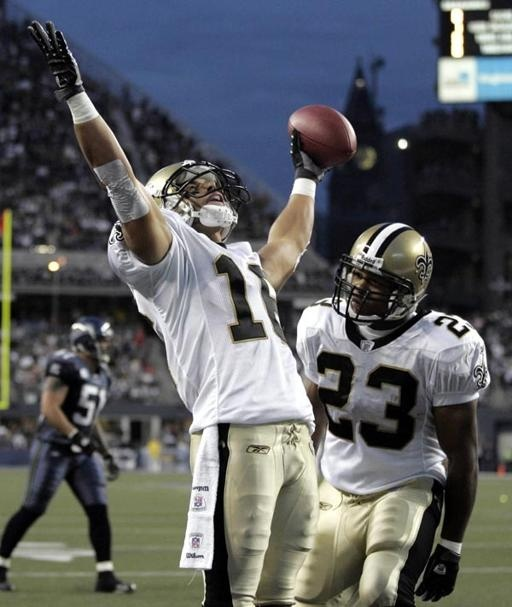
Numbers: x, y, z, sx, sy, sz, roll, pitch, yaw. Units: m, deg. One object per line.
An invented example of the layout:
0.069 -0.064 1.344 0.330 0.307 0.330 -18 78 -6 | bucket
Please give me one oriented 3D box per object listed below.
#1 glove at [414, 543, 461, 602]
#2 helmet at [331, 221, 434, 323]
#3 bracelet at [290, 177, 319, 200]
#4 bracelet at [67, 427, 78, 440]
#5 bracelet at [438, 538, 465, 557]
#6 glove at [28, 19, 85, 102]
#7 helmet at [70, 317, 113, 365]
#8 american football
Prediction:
0.627 0.933 3.648 0.145 0.211 0.152 1 1 8 | glove
0.482 -0.145 3.802 0.320 0.307 0.423 26 29 34 | helmet
0.179 -0.431 3.927 0.096 0.085 0.096 16 -6 -37 | bracelet
-0.920 0.649 5.236 0.019 0.050 0.044 38 7 -7 | bracelet
0.675 0.845 3.621 0.070 0.033 0.051 23 3 24 | bracelet
-0.591 -0.716 3.081 0.158 0.246 0.201 0 1 -13 | glove
-0.974 0.208 5.950 0.314 0.275 0.247 1 -2 -18 | helmet
0.233 -0.648 4.024 0.208 0.163 0.262 31 5 -14 | american football
